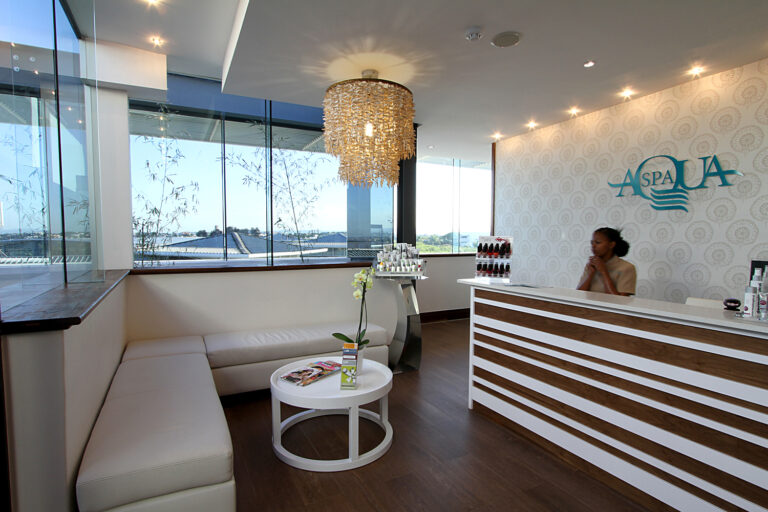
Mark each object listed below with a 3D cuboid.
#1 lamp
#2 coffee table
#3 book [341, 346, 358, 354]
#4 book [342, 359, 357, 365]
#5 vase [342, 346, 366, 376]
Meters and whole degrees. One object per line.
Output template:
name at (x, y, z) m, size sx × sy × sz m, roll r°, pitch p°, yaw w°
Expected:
lamp at (-0.147, -1.228, 4.890) m, size 1.078 × 1.074 × 1.004 m, roll 0°, pitch -1°, yaw -5°
coffee table at (-0.481, 1.282, 4.176) m, size 0.921 × 0.494 × 0.887 m, roll 0°, pitch 1°, yaw -10°
book at (-0.285, 0.791, 3.931) m, size 0.120 × 0.058 × 0.058 m, roll 0°, pitch 6°, yaw -4°
book at (-0.284, 0.899, 3.929) m, size 0.082 × 0.071 × 0.019 m, roll 0°, pitch -34°, yaw 6°
vase at (-0.264, 0.888, 4.054) m, size 0.234 × 0.254 × 0.247 m, roll 0°, pitch 4°, yaw -9°
